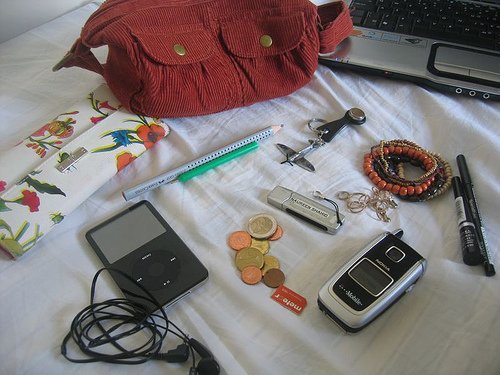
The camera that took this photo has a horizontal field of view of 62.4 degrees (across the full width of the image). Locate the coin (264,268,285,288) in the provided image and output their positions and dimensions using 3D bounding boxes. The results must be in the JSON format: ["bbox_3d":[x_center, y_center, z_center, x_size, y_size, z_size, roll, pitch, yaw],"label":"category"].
[{"bbox_3d":[0.037,0.138,0.628,0.030,0.004,0.030,-2,58,4],"label":"coin"}]

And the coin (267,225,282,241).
[{"bbox_3d":[0.044,0.075,0.668,0.015,0.003,0.031,29,65,21],"label":"coin"}]

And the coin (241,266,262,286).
[{"bbox_3d":[0.002,0.134,0.632,0.030,0.004,0.030,-2,58,4],"label":"coin"}]

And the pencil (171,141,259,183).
[{"bbox_3d":[-0.063,-0.044,0.751,0.136,0.014,0.015,-27,45,-16],"label":"pencil"}]
